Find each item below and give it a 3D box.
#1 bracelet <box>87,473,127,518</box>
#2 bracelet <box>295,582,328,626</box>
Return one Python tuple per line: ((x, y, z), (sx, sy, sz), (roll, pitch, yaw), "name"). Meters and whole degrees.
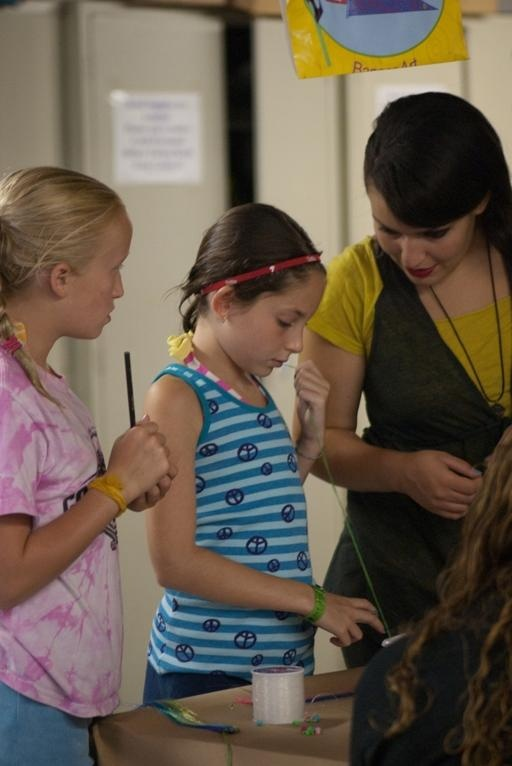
((-0.177, 0.136, 0.994), (0.040, 0.017, 0.049), (40, -1, -39), "bracelet")
((0.079, 0.334, 1.222), (0.023, 0.049, 0.047), (7, -16, -11), "bracelet")
